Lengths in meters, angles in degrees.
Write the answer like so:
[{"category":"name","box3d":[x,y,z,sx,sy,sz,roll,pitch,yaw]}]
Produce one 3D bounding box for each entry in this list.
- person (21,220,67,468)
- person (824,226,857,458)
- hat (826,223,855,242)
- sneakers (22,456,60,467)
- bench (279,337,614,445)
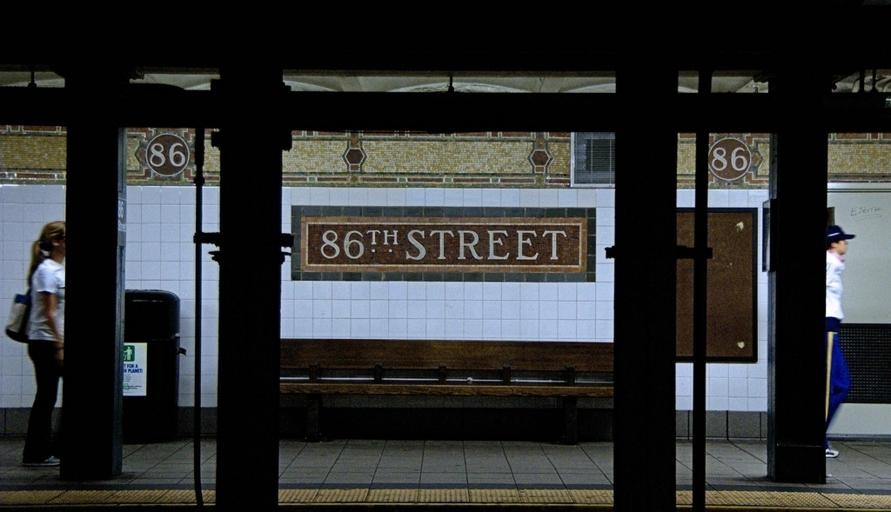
[{"category":"person","box3d":[-4.594,1.009,15.854,0.518,2.793,0.375,-2,-2,-1]},{"category":"person","box3d":[4.643,1.005,16.300,0.438,2.780,1.355,-3,-2,15]},{"category":"hat","box3d":[4.622,-0.290,16.410,0.493,0.189,0.252,-5,2,7]},{"category":"sneakers","box3d":[-4.560,2.361,15.783,0.500,0.145,0.147,-2,2,-9]},{"category":"bench","box3d":[-0.059,1.621,16.971,4.390,0.982,0.847,0,7,5]}]
